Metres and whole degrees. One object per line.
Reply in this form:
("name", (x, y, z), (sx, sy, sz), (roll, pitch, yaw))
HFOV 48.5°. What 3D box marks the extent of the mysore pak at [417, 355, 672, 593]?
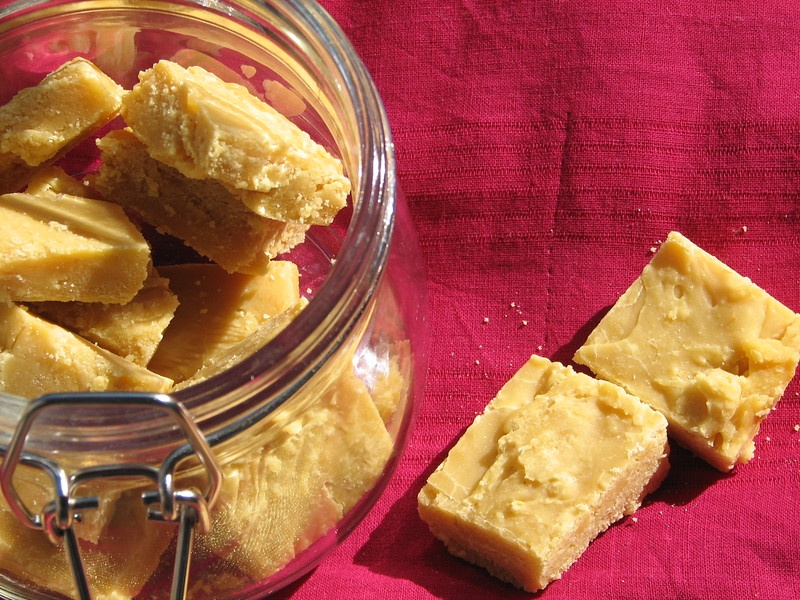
("mysore pak", (0.197, 0.207, 1.193), (0.254, 0.149, 0.336), (34, 72, 27))
